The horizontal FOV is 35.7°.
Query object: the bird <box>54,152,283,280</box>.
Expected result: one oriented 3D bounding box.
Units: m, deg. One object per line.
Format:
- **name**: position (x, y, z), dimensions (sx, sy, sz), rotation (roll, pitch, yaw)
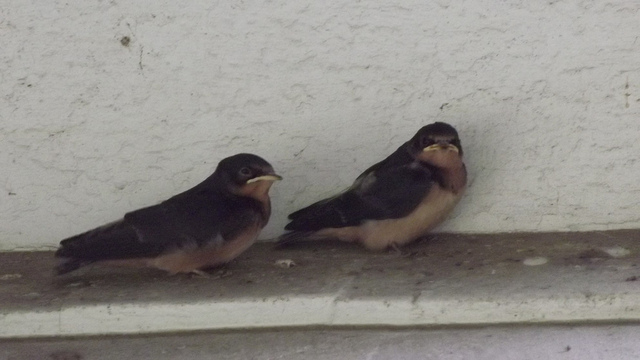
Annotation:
- **bird**: position (-0.851, 0.244, 5.749), dimensions (1.538, 0.582, 0.604), rotation (-7, 5, 24)
